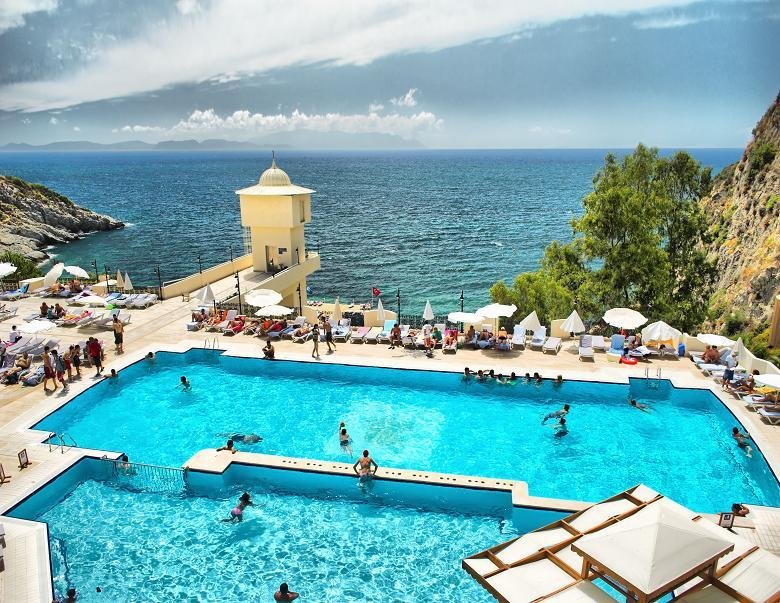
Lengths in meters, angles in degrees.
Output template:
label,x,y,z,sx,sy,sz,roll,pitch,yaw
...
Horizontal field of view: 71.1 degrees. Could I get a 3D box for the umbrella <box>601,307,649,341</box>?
label,x,y,z,sx,sy,sz,roll,pitch,yaw
umbrella,11.409,1.298,26.817,1.953,1.315,1.959,18,49,17

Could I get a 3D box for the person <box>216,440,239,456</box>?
label,x,y,z,sx,sy,sz,roll,pitch,yaw
person,-5.601,5.025,19.158,0.603,0.385,0.783,10,13,9

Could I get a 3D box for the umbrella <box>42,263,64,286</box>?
label,x,y,z,sx,sy,sz,roll,pitch,yaw
umbrella,-21.261,-1.638,34.493,1.131,1.446,1.204,-11,23,-32

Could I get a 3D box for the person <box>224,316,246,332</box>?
label,x,y,z,sx,sy,sz,roll,pitch,yaw
person,-8.458,1.329,29.889,0.539,0.553,0.923,-3,6,13

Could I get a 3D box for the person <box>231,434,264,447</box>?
label,x,y,z,sx,sy,sz,roll,pitch,yaw
person,-5.356,5.185,20.527,0.844,0.168,0.618,4,12,3

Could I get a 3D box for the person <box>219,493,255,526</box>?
label,x,y,z,sx,sy,sz,roll,pitch,yaw
person,-4.692,6.456,16.944,0.472,0.858,1.059,1,42,27

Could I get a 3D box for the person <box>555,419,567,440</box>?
label,x,y,z,sx,sy,sz,roll,pitch,yaw
person,6.598,4.789,20.839,0.422,0.540,0.787,8,20,17

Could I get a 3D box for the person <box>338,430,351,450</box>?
label,x,y,z,sx,sy,sz,roll,pitch,yaw
person,-1.646,5.003,20.244,0.410,0.643,0.741,-1,19,-6

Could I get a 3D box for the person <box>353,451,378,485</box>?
label,x,y,z,sx,sy,sz,roll,pitch,yaw
person,-0.777,5.274,17.792,0.809,1.141,0.542,0,19,-3

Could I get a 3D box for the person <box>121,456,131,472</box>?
label,x,y,z,sx,sy,sz,roll,pitch,yaw
person,-8.820,5.360,18.197,0.260,0.331,0.718,-9,22,-27

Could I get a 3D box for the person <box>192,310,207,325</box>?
label,x,y,z,sx,sy,sz,roll,pitch,yaw
person,-10.771,0.851,30.688,0.785,0.788,0.819,-5,3,13

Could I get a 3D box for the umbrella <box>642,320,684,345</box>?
label,x,y,z,sx,sy,sz,roll,pitch,yaw
umbrella,12.710,1.467,25.844,1.275,0.707,1.211,-9,12,-18

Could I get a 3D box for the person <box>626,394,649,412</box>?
label,x,y,z,sx,sy,sz,roll,pitch,yaw
person,10.342,4.268,22.933,0.938,0.339,1.074,13,-7,30
